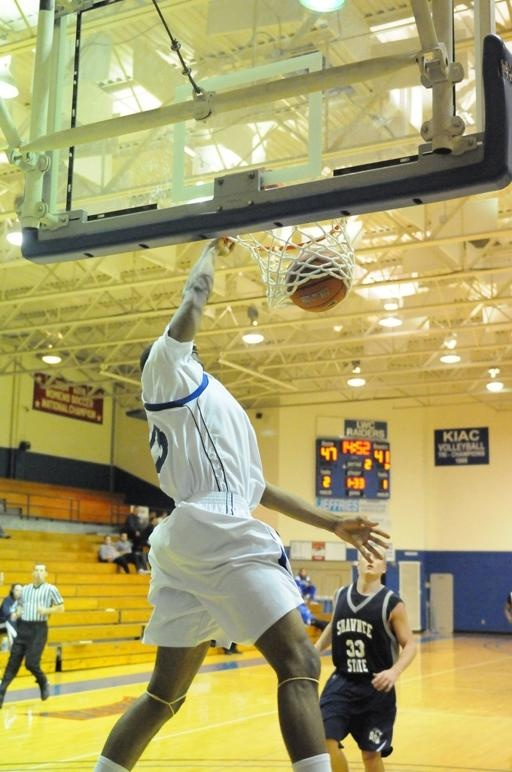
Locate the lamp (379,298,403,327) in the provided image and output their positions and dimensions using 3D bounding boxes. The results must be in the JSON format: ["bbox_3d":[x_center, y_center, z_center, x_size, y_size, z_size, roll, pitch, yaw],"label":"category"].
[{"bbox_3d":[2.906,-1.578,14.025,0.577,0.586,0.559,10,-11,-42],"label":"lamp"}]

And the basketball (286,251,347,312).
[{"bbox_3d":[0.224,-0.384,2.417,0.210,0.190,0.229,-2,-5,9],"label":"basketball"}]
